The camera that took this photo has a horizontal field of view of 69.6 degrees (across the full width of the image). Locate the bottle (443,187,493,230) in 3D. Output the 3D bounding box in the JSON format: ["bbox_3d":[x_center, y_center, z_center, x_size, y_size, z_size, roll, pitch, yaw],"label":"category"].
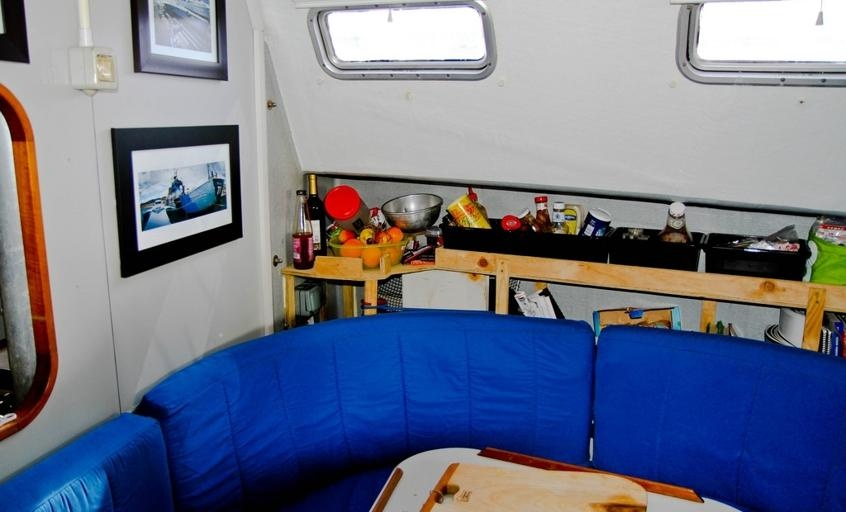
[{"bbox_3d":[0.253,-0.254,3.256,0.178,0.173,0.111,37,21,7],"label":"bottle"}]

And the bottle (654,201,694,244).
[{"bbox_3d":[1.197,-0.164,2.891,0.150,0.184,0.125,-1,11,-9],"label":"bottle"}]

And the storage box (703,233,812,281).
[{"bbox_3d":[1.543,0.020,2.840,0.367,0.115,0.250,3,9,24],"label":"storage box"}]

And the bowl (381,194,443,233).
[{"bbox_3d":[-0.071,-0.228,3.408,0.358,0.138,0.349,-6,-15,-2],"label":"bowl"}]

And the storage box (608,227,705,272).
[{"bbox_3d":[1.120,-0.015,2.964,0.374,0.127,0.247,6,16,21],"label":"storage box"}]

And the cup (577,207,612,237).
[{"bbox_3d":[0.858,-0.173,3.045,0.147,0.128,0.228,4,11,15],"label":"cup"}]

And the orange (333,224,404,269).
[{"bbox_3d":[-0.272,-0.068,3.251,0.281,0.121,0.251,-3,7,-37],"label":"orange"}]
